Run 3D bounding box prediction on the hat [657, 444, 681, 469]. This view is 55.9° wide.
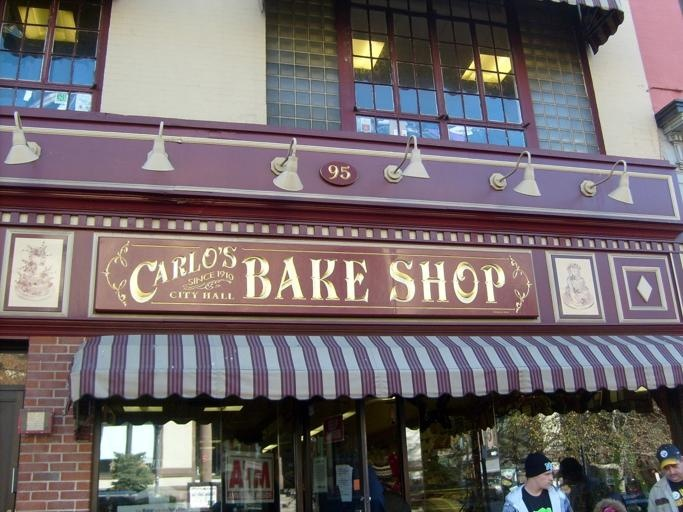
[{"bbox_3d":[3.997,2.424,7.823,0.252,0.277,0.216,-12,-24,18],"label":"hat"}]

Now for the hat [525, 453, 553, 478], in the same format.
[{"bbox_3d":[2.208,2.333,7.203,0.287,0.264,0.242,-10,-23,13],"label":"hat"}]
